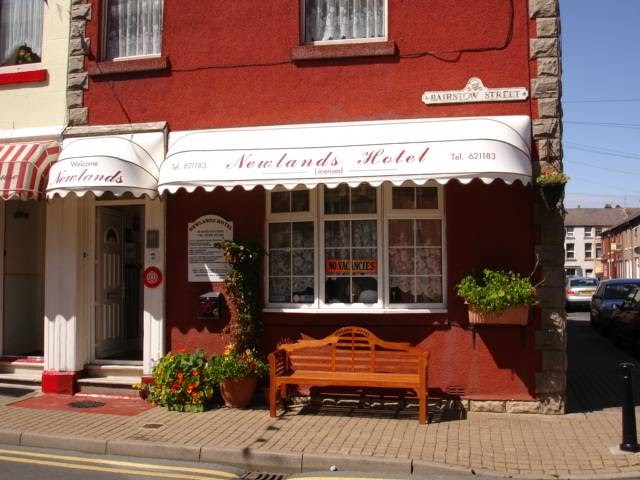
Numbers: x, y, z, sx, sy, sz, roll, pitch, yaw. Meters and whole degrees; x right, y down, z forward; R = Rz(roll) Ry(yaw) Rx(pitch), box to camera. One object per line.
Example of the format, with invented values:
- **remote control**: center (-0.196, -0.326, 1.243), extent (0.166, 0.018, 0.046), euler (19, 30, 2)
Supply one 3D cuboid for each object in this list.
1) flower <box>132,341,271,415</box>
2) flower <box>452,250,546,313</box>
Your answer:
- **flower**: center (-2.084, 2.409, 12.105), extent (1.983, 1.072, 0.556), euler (0, 6, 0)
- **flower**: center (2.879, 0.687, 11.464), extent (0.853, 0.419, 0.816), euler (-4, 28, 9)
